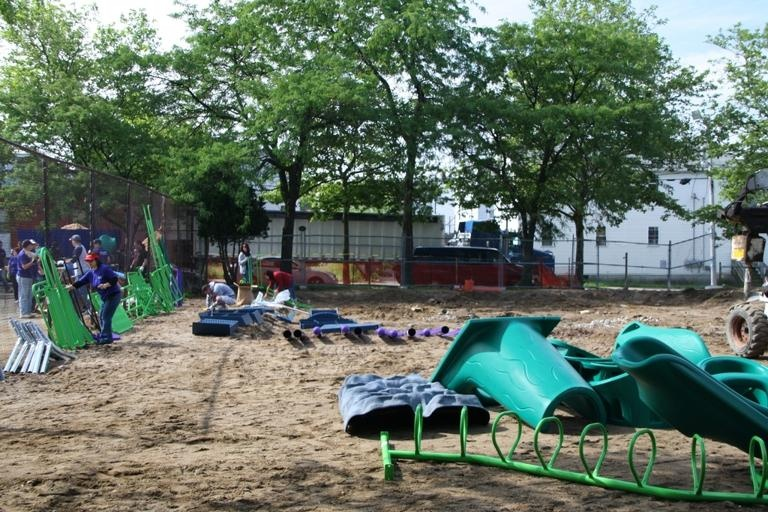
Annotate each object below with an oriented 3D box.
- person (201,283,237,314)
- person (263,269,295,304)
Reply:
[{"bbox_3d":[-5.616,1.391,32.903,1.111,0.966,0.812,2,5,-11],"label":"person"},{"bbox_3d":[-3.474,1.017,32.753,0.908,1.046,1.104,0,-1,-6],"label":"person"}]
